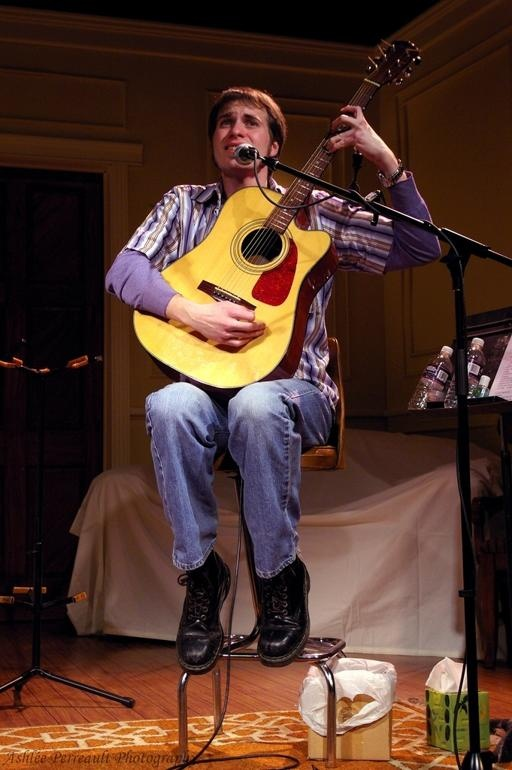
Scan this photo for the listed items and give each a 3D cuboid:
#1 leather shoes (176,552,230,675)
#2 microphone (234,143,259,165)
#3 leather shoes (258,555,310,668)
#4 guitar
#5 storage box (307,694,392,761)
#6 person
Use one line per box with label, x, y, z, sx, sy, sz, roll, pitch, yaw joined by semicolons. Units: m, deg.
leather shoes;-0.090;0.375;1.167;0.079;0.174;0.103;0;-5;-6
microphone;-0.017;-0.385;1.169;0.033;0.044;0.016;-21;-20;-16
leather shoes;0.045;0.379;1.174;0.085;0.158;0.099;-1;-5;1
guitar;0.140;-0.269;1.476;0.391;0.907;0.109;27;-15;28
storage box;0.176;0.651;1.390;0.137;0.080;0.135;-1;-6;11
person;0.055;-0.098;1.415;0.636;1.180;0.470;2;-6;-29
